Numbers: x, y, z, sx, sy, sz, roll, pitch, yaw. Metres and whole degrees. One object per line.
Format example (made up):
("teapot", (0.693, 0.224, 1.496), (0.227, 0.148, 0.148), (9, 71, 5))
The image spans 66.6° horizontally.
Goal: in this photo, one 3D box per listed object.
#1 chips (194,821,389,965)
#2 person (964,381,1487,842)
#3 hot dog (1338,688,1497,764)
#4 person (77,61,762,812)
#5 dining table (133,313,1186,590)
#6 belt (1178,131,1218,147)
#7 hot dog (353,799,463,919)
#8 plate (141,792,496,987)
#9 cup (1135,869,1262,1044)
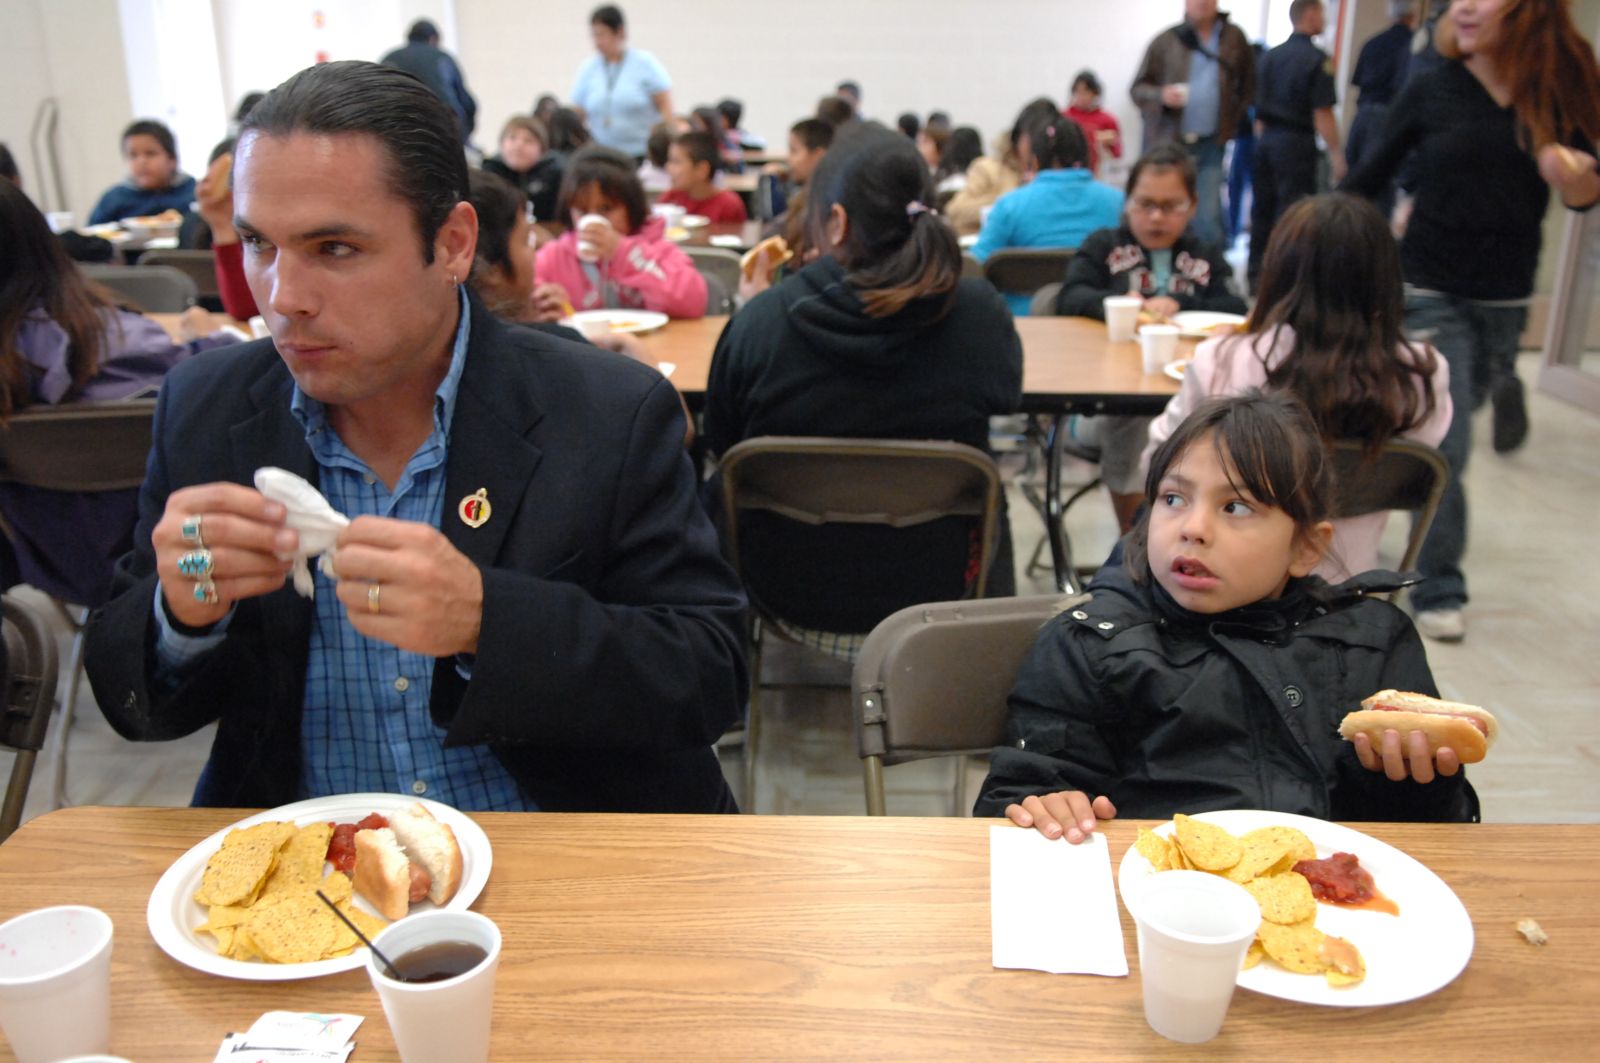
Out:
("chips", (-0.673, 0.469, 1.669), (0.216, 0.146, 0.215), (8, 17, 24))
("person", (0.700, 0.091, 2.246), (0.787, 0.680, 0.761), (2, 4, 1))
("hot dog", (0.922, 0.283, 1.838), (0.191, 0.071, 0.140), (4, 8, 18))
("person", (-0.615, -0.063, 1.906), (1.028, 1.273, 0.571), (-3, 21, -3))
("dining table", (0.238, -0.447, 4.145), (1.665, 0.787, 1.442), (2, 16, 1))
("belt", (2.588, -2.551, 7.931), (0.142, 0.141, 0.152), (-12, 26, -22))
("hot dog", (-0.524, 0.443, 1.635), (0.112, 0.052, 0.144), (-5, 43, -30))
("plate", (-0.632, 0.444, 1.756), (0.471, 0.193, 0.375), (-1, 17, -2))
("cup", (0.480, 0.532, 1.520), (0.147, 0.179, 0.116), (6, 22, 21))
